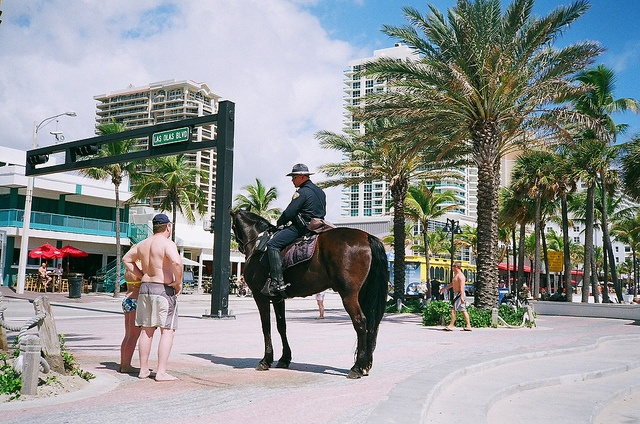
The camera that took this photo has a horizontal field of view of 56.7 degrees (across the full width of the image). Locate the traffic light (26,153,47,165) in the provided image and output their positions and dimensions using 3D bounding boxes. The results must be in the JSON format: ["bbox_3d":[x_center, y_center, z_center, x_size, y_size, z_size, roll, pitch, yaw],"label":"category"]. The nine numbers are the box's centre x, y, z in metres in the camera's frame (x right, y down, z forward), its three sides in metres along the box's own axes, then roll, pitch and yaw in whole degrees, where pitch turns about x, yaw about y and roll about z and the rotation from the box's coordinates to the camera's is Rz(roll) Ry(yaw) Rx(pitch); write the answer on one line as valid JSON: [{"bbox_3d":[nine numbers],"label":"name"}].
[{"bbox_3d":[-13.991,-2.619,29.622,0.919,0.344,0.485,2,1,24],"label":"traffic light"}]

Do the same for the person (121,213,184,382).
[{"bbox_3d":[-3.298,1.744,12.266,1.009,3.378,0.437,-2,-10,13],"label":"person"}]

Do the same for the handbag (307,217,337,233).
[{"bbox_3d":[0.028,0.302,13.291,0.510,0.240,0.524,3,1,-8],"label":"handbag"}]

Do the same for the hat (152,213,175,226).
[{"bbox_3d":[-3.392,0.145,12.530,0.322,0.241,0.528,6,-1,12],"label":"hat"}]

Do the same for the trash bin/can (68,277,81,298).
[{"bbox_3d":[-14.300,4.375,34.730,0.578,1.324,0.906,6,-11,-29],"label":"trash bin/can"}]

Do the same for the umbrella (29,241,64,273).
[{"bbox_3d":[-18.663,2.986,40.444,2.160,1.936,2.148,4,-6,-28],"label":"umbrella"}]
